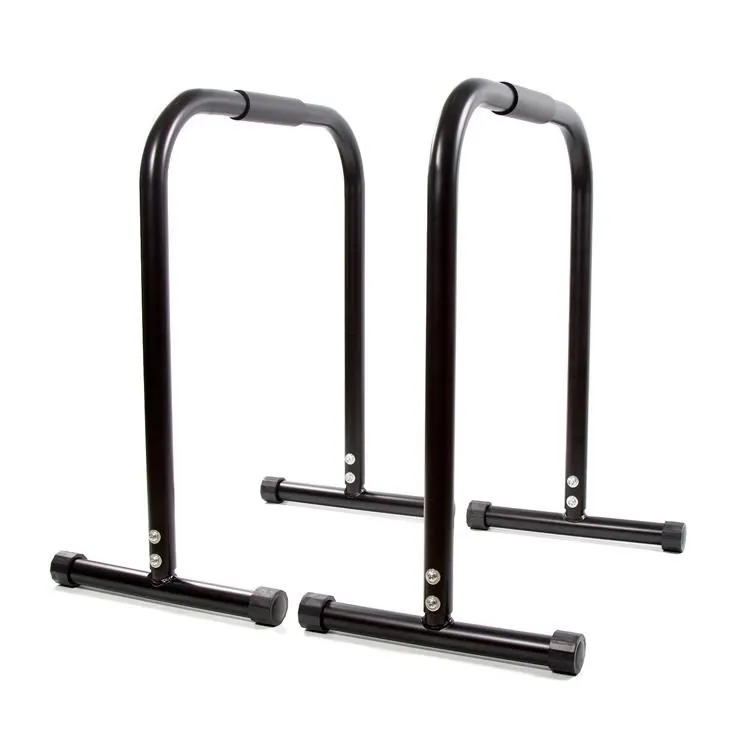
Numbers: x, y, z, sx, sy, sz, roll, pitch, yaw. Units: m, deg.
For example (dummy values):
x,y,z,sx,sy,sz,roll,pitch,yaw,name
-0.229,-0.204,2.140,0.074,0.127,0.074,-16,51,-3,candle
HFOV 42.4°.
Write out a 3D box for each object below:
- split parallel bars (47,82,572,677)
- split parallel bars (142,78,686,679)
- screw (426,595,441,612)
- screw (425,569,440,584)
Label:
x,y,z,sx,sy,sz,roll,pitch,yaw,name
-0.124,-0.077,2.950,1.347,1.515,1.204,7,12,30,split parallel bars
-0.077,-0.098,2.902,1.350,1.507,1.200,5,9,30,split parallel bars
0.146,0.582,2.457,0.039,0.040,0.020,0,-12,8,screw
0.145,0.512,2.449,0.041,0.039,0.018,-1,-13,13,screw
